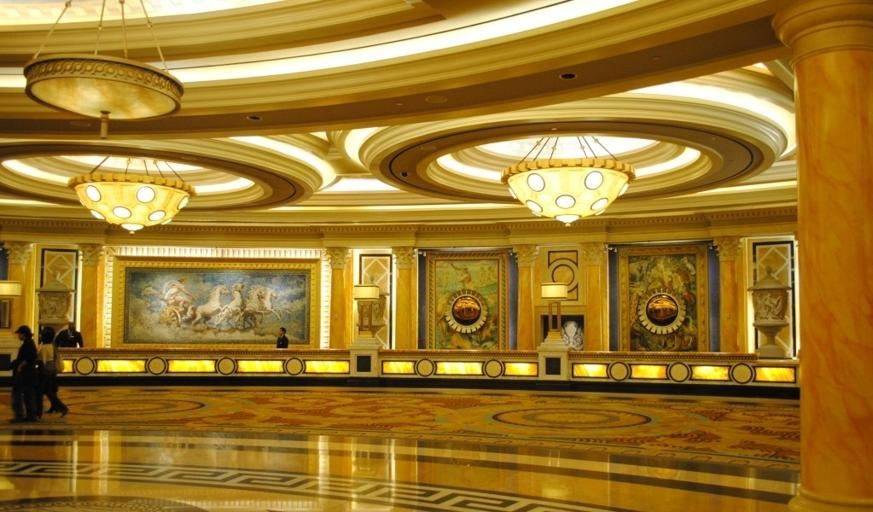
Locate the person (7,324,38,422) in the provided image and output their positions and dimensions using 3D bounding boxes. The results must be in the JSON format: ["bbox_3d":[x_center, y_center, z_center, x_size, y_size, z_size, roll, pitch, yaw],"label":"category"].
[{"bbox_3d":[-7.330,2.086,11.143,0.446,1.647,0.518,4,-8,-30],"label":"person"}]

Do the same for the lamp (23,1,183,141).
[{"bbox_3d":[-4.547,-2.630,8.494,1.603,1.727,1.471,16,-42,-35],"label":"lamp"}]

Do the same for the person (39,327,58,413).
[{"bbox_3d":[-7.239,2.127,11.609,0.324,1.592,1.000,4,-8,-30],"label":"person"}]

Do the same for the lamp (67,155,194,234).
[{"bbox_3d":[-6.518,-1.378,13.844,2.927,1.566,2.446,5,-7,-12],"label":"lamp"}]
